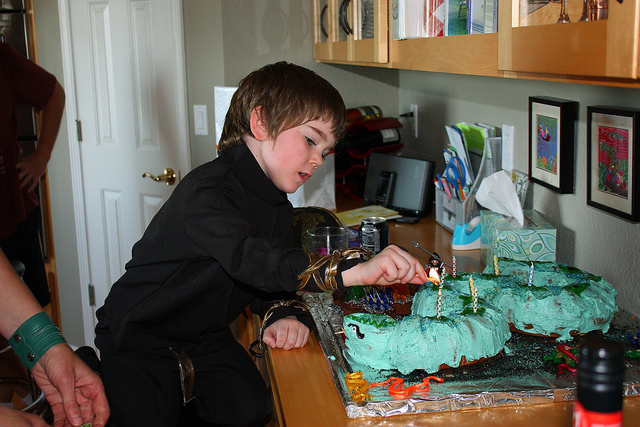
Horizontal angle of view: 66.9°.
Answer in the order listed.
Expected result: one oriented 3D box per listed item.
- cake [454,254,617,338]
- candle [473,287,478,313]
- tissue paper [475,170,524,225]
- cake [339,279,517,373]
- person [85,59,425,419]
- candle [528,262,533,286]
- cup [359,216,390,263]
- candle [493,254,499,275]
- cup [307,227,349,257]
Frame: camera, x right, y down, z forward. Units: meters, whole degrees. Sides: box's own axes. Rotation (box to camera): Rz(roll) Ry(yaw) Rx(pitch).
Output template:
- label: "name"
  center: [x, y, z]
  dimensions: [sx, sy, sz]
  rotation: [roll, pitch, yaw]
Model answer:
- label: "cake"
  center: [0.577, 0.203, 1.317]
  dimensions: [0.236, 0.090, 0.261]
  rotation: [0, 7, -16]
- label: "candle"
  center: [0.390, 0.212, 1.215]
  dimensions: [0.011, 0.056, 0.059]
  rotation: [0, 10, 17]
- label: "tissue paper"
  center: [0.618, -0.064, 1.646]
  dimensions: [0.076, 0.123, 0.175]
  rotation: [9, 15, -18]
- label: "cake"
  center: [0.258, 0.289, 1.180]
  dimensions: [0.260, 0.079, 0.276]
  rotation: [5, 16, 16]
- label: "person"
  center: [-0.297, -0.135, 1.961]
  dimensions: [1.212, 1.694, 0.706]
  rotation: [4, 21, 1]
- label: "candle"
  center: [0.582, 0.168, 1.339]
  dimensions: [0.011, 0.049, 0.070]
  rotation: [1, 10, 25]
- label: "cup"
  center: [0.204, 0.097, 1.859]
  dimensions: [0.100, 0.187, 0.105]
  rotation: [-3, 29, 2]
- label: "candle"
  center: [0.513, 0.149, 1.406]
  dimensions: [0.011, 0.049, 0.036]
  rotation: [-1, 9, 15]
- label: "cup"
  center: [0.025, 0.093, 1.692]
  dimensions: [0.095, 0.084, 0.108]
  rotation: [0, 7, 2]
